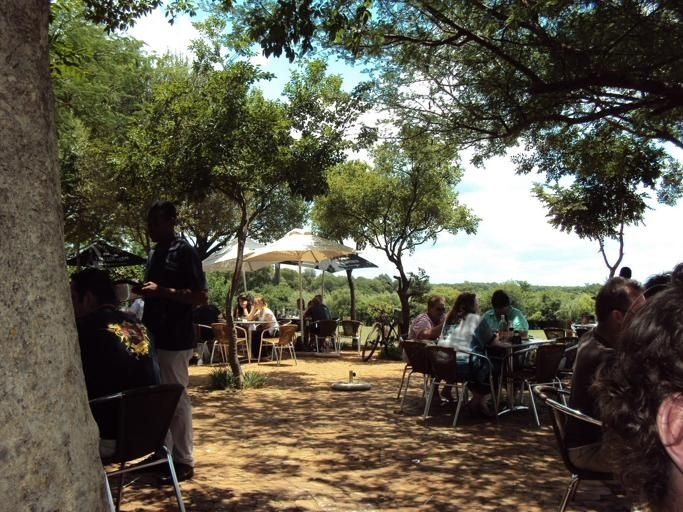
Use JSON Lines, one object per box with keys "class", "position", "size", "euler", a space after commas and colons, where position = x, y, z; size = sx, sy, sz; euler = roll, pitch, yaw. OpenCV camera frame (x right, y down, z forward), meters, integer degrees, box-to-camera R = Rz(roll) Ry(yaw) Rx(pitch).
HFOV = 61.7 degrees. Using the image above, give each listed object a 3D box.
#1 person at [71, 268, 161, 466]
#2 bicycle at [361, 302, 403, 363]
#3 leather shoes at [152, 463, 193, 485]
{"class": "person", "position": [-1.506, 0.666, 3.833], "size": [0.545, 1.186, 0.874], "euler": [2, -4, -28]}
{"class": "bicycle", "position": [1.193, 2.245, 16.283], "size": [1.011, 1.236, 2.090], "euler": [1, -5, 30]}
{"class": "leather shoes", "position": [-1.463, 1.841, 4.796], "size": [0.433, 0.183, 0.159], "euler": [9, -12, -24]}
